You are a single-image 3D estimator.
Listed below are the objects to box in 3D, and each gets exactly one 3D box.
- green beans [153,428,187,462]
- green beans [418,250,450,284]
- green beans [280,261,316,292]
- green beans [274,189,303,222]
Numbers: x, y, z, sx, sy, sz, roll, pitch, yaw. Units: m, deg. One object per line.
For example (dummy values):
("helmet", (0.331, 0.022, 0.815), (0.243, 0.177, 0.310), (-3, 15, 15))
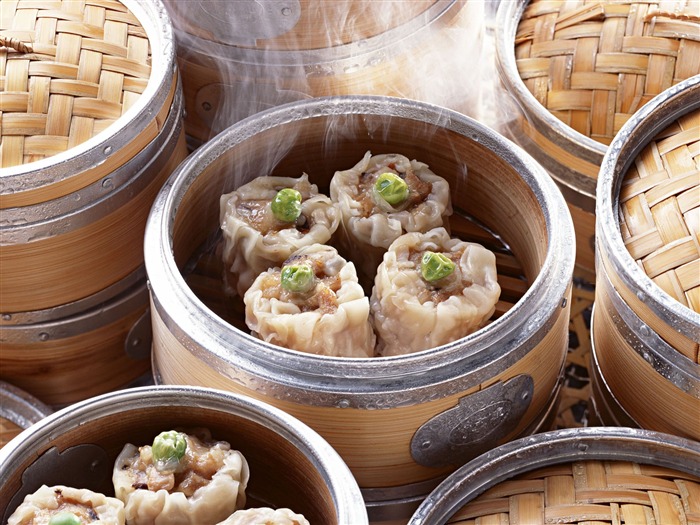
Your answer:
("green beans", (-0.508, 0.516, 1.910), (0.081, 0.080, 0.084), (31, 30, 23))
("green beans", (0.309, 0.018, 2.422), (0.086, 0.051, 0.119), (-32, 60, -5))
("green beans", (-0.182, 0.056, 2.377), (0.102, 0.109, 0.104), (2, 42, 2))
("green beans", (-0.241, -0.218, 2.526), (0.110, 0.121, 0.062), (-1, 10, -29))
